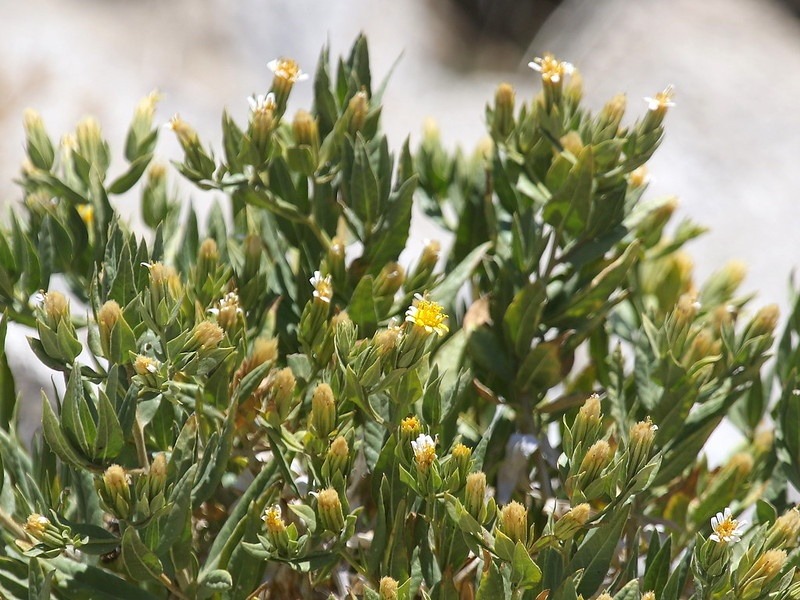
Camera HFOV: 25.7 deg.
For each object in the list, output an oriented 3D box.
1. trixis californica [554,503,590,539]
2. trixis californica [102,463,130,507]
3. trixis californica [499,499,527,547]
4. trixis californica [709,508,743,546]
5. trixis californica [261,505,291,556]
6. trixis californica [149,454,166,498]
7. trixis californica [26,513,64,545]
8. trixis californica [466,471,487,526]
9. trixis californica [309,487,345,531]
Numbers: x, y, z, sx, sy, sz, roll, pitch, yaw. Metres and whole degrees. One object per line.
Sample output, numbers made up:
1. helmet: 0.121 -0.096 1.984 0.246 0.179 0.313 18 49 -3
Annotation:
1. trixis californica: 0.356 0.474 3.744 0.085 0.037 0.044 -24 29 24
2. trixis californica: -0.604 0.390 3.722 0.041 0.089 0.039 1 8 -7
3. trixis californica: 0.238 0.494 3.743 0.041 0.119 0.047 8 14 33
4. trixis californica: 0.698 0.489 3.788 0.065 0.091 0.039 1 -11 -16
5. trixis californica: -0.270 0.501 3.777 0.040 0.117 0.041 0 25 46
6. trixis californica: -0.514 0.380 3.745 0.031 0.111 0.031 5 10 -39
7. trixis californica: -0.759 0.493 3.750 0.077 0.034 0.037 40 50 -31
8. trixis californica: 0.162 0.415 3.742 0.057 0.083 0.049 20 29 6
9. trixis californica: -0.142 0.460 3.766 0.035 0.096 0.041 -20 -10 4
